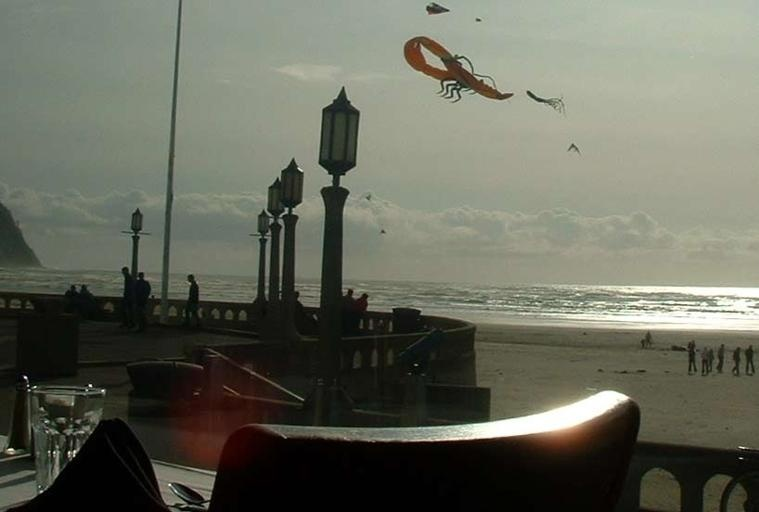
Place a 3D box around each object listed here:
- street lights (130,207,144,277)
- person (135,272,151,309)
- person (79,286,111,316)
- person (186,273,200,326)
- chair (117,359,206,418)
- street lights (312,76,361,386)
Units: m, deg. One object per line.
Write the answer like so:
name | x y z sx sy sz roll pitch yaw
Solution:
street lights | -7.200 -0.493 25.176 0.381 1.864 0.719 1 -2 -16
person | -6.739 0.927 24.128 0.417 0.980 0.841 2 -2 -28
person | -8.479 1.289 25.183 0.398 0.400 0.925 4 -10 28
person | -5.762 1.333 26.238 0.362 1.573 1.752 1 -2 -13
chair | -4.502 2.740 17.834 1.211 0.960 1.259 3 -13 -8
street lights | -0.867 -0.449 17.251 0.786 5.971 0.529 1 -2 -3
